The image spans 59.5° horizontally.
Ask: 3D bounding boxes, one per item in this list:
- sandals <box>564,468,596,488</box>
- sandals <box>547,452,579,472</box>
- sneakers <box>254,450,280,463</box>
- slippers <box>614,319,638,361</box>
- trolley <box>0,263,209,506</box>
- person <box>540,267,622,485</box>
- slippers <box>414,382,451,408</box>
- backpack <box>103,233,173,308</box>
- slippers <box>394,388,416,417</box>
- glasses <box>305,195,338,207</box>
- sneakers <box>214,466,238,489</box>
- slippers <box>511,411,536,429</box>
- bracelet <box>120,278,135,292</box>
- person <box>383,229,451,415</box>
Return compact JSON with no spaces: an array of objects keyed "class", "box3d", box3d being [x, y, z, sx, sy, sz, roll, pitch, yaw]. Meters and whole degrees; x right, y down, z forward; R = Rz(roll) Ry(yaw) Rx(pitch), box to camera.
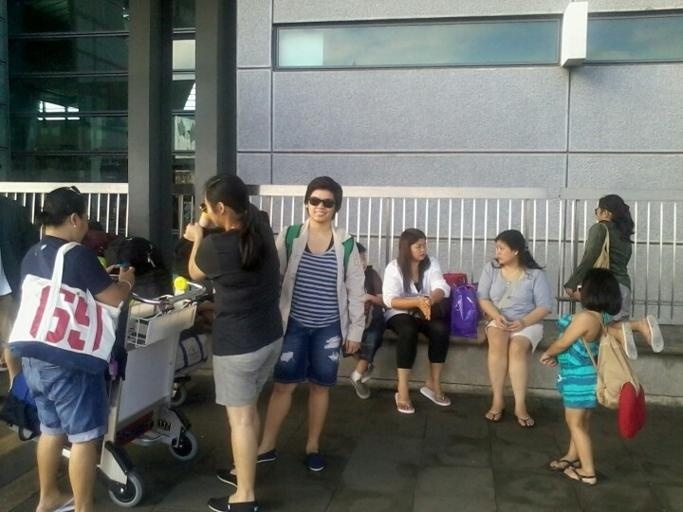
[{"class":"sandals","box3d":[1.906,1.751,4.736,0.101,0.064,0.206,-22,25,-34]},{"class":"sandals","box3d":[1.830,1.703,4.898,0.199,0.050,0.112,-2,4,-10]},{"class":"sneakers","box3d":[-0.599,1.659,4.940,0.202,0.081,0.068,4,1,-37]},{"class":"slippers","box3d":[2.217,0.649,4.605,0.108,0.306,0.114,-4,-11,-8]},{"class":"trolley","box3d":[-2.015,0.924,4.971,1.628,1.753,1.172,5,7,17]},{"class":"person","box3d":[1.894,0.939,4.741,0.547,1.652,0.466,1,12,3]},{"class":"slippers","box3d":[0.969,1.444,6.129,0.151,0.089,0.282,-21,39,-38]},{"class":"backpack","box3d":[-1.738,0.123,5.089,0.370,0.699,0.526,-18,0,26]},{"class":"slippers","box3d":[0.649,1.457,5.962,0.204,0.166,0.270,2,13,7]},{"class":"glasses","box3d":[-0.142,-0.430,4.746,0.234,0.082,0.086,-1,12,-5]},{"class":"sneakers","box3d":[-0.885,1.742,4.690,0.222,0.091,0.084,23,7,29]},{"class":"slippers","box3d":[1.738,1.572,5.661,0.090,0.073,0.177,-2,-3,-9]},{"class":"bracelet","box3d":[-1.552,0.209,4.375,0.094,0.106,0.078,-5,50,-7]},{"class":"person","box3d":[0.792,0.628,6.101,0.715,1.747,0.731,1,12,4]}]
